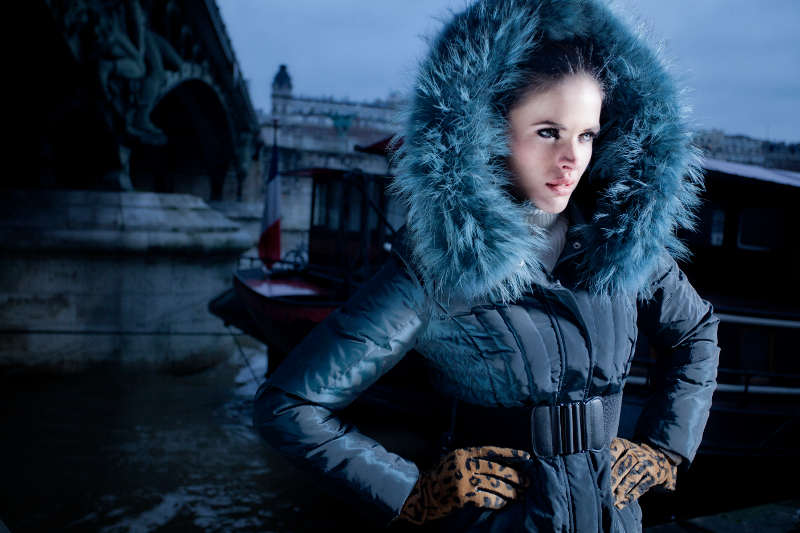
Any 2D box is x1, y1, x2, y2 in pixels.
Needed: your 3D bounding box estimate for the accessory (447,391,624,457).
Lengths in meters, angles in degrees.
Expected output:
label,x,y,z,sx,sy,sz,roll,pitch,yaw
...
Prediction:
label,x,y,z,sx,sy,sz,roll,pitch,yaw
accessory,0.680,0.864,5.063,0.622,0.231,0.821,-2,-5,-33
